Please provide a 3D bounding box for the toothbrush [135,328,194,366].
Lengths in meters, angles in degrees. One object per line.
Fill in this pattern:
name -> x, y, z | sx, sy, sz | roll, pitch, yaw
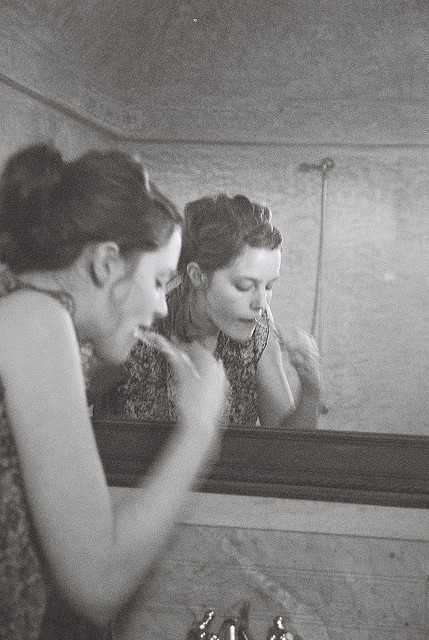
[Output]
toothbrush -> -0.082, 0.042, 1.172 | 0.074, 0.019, 0.012 | 46, 7, -1
